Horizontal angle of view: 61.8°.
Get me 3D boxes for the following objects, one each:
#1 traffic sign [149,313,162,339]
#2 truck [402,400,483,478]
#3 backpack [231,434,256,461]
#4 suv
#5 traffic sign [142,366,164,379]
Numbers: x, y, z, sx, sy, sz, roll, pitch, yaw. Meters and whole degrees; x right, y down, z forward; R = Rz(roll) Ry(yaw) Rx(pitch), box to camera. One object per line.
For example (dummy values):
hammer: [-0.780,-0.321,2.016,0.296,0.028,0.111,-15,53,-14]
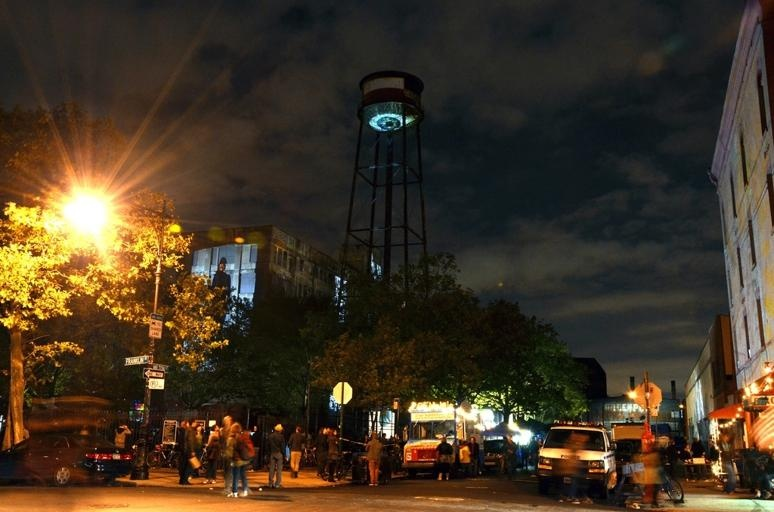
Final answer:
traffic sign: [-9.784,2.942,27.232,0.492,0.955,0.951,8,-20,-21]
truck: [3.112,11.132,40.184,3.232,3.085,5.719,-5,-22,16]
backpack: [-5.076,6.739,22.580,0.822,0.970,0.308,15,-23,-38]
suv: [8.412,8.940,28.557,2.391,2.063,4.017,-3,-18,15]
traffic sign: [-9.593,4.869,26.683,0.363,0.514,0.982,-14,-23,36]
